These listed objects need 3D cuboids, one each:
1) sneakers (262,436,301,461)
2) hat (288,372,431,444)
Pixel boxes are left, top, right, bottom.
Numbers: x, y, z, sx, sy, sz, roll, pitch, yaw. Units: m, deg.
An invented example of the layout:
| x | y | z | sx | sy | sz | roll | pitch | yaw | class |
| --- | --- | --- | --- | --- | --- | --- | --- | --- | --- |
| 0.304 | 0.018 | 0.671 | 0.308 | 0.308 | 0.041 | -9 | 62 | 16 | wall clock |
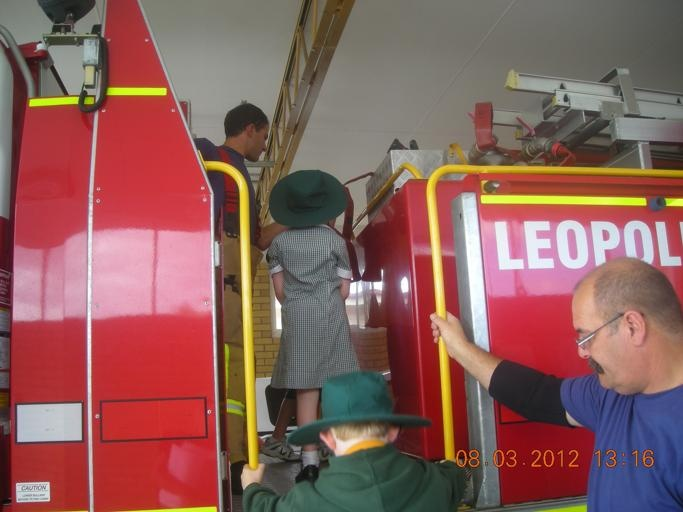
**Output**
| x | y | z | sx | sy | sz | roll | pitch | yaw | class |
| --- | --- | --- | --- | --- | --- | --- | --- | --- | --- |
| -0.394 | 1.215 | 4.055 | 0.252 | 0.110 | 0.212 | 5 | -3 | 3 | sneakers |
| 0.043 | 0.592 | 2.558 | 0.345 | 0.164 | 0.391 | -6 | -15 | 24 | hat |
